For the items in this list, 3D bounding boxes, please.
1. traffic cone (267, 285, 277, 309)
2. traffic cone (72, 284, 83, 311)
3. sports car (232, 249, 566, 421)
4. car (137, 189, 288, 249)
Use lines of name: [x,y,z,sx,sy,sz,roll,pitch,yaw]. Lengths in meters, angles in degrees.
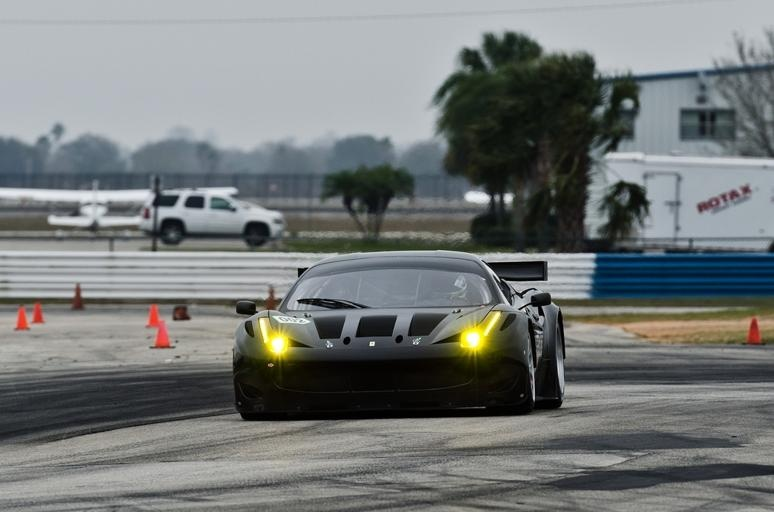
traffic cone: [-2.426,0.853,31.463,0.203,0.194,0.476,-1,-41,-4]
traffic cone: [-6.772,0.872,32.559,0.242,0.601,0.905,-2,0,-11]
sports car: [0.169,1.093,20.841,4.645,2.241,2.301,-2,0,-7]
car: [-3.726,-0.811,32.593,3.214,1.116,1.332,-1,5,4]
